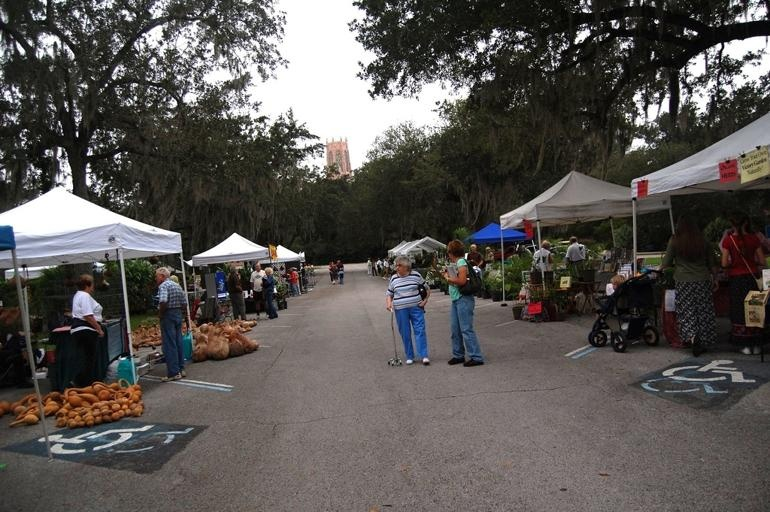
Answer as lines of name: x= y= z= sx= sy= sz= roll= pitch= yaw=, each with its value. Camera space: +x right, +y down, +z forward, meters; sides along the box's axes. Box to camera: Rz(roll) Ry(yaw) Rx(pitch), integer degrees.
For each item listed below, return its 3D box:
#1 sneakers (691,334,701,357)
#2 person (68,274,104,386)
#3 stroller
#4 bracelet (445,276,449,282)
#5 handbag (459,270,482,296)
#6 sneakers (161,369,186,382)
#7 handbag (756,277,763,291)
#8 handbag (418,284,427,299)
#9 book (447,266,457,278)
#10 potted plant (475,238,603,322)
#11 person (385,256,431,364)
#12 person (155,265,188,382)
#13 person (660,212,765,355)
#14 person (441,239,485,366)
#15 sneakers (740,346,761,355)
sneakers: x=5.405 y=1.567 z=9.170 sx=0.118 sy=0.384 sz=0.145 roll=0 pitch=-11 yaw=4
person: x=-5.514 y=1.516 z=9.748 sx=0.567 sy=1.722 sz=0.314 roll=-7 pitch=7 yaw=-32
stroller: x=4.731 y=1.005 z=10.416 sx=1.131 sy=1.625 sz=1.381 roll=-3 pitch=1 yaw=-8
bracelet: x=1.188 y=0.435 z=9.914 sx=0.024 sy=0.090 sz=0.090 roll=-8 pitch=6 yaw=-8
handbag: x=1.588 y=0.497 z=9.877 sx=0.419 sy=0.646 sz=0.311 roll=0 pitch=7 yaw=37
sneakers: x=-4.206 y=2.415 z=10.494 sx=0.181 sy=0.147 sz=0.463 roll=-5 pitch=11 yaw=35
handbag: x=6.473 y=0.483 z=9.097 sx=0.061 sy=0.234 sz=0.629 roll=0 pitch=7 yaw=32
handbag: x=0.749 y=0.712 z=10.400 sx=0.168 sy=0.293 sz=0.115 roll=-4 pitch=6 yaw=-6
book: x=1.312 y=0.292 z=10.064 sx=0.041 sy=0.186 sz=0.174 roll=-1 pitch=-3 yaw=-39
potted plant: x=4.436 y=0.995 z=15.454 sx=2.255 sy=1.057 sz=2.266 roll=-5 pitch=6 yaw=39
person: x=0.482 y=1.076 z=10.613 sx=0.795 sy=2.206 sz=0.958 roll=-3 pitch=6 yaw=2
person: x=-4.239 y=1.344 z=10.564 sx=0.499 sy=2.211 sz=0.686 roll=-6 pitch=6 yaw=-25
person: x=5.822 y=0.484 z=9.408 sx=1.400 sy=2.445 sz=0.909 roll=-3 pitch=6 yaw=7
person: x=1.514 y=0.913 z=10.186 sx=0.674 sy=2.404 sz=0.886 roll=-3 pitch=6 yaw=7
sneakers: x=6.258 y=1.591 z=9.017 sx=0.246 sy=0.131 sz=0.261 roll=-1 pitch=6 yaw=32
